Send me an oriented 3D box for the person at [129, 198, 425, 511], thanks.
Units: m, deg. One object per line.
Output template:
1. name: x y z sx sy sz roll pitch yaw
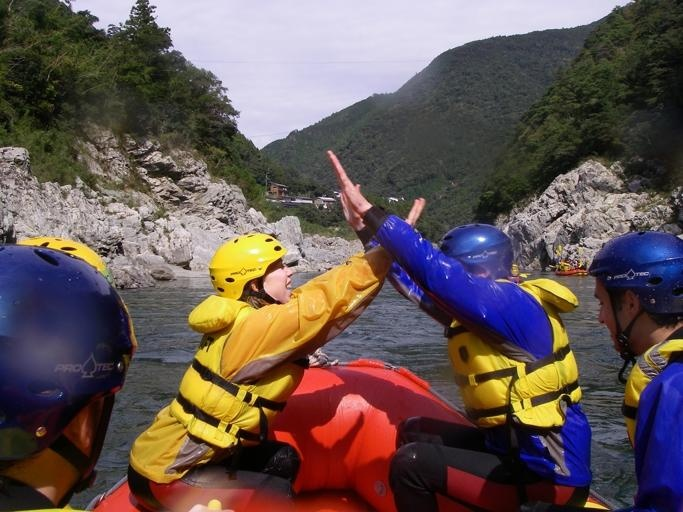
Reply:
1. person: -0.427 0.528 2.970 1.280 1.610 0.618 -6 10 -36

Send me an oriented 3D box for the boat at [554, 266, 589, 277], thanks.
1. boat: 14.484 0.955 35.897 1.679 0.682 2.235 3 -2 -30

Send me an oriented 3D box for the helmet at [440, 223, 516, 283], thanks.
1. helmet: 0.753 -0.029 3.300 0.446 0.339 0.335 -4 18 -3

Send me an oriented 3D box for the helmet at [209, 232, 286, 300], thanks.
1. helmet: -0.538 0.032 3.247 0.471 0.305 0.343 -12 13 -18
